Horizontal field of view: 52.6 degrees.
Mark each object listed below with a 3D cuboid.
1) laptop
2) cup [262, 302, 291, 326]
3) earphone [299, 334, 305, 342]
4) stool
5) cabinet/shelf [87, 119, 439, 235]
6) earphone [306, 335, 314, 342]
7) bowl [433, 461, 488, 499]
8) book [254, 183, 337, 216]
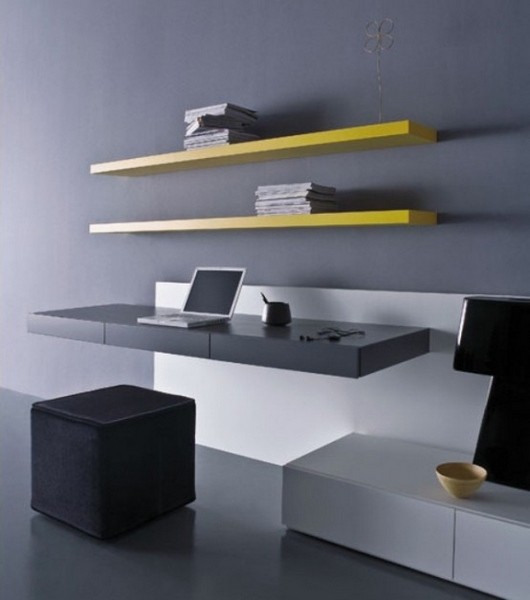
[{"bbox_3d":[-0.309,-0.018,2.233,0.338,0.229,0.407,3,4,36],"label":"laptop"},{"bbox_3d":[0.045,0.057,2.142,0.090,0.078,0.090,0,-2,0],"label":"cup"},{"bbox_3d":[0.117,0.123,1.704,0.011,0.020,0.022,2,-1,-34],"label":"earphone"},{"bbox_3d":[-0.557,0.571,1.993,0.438,0.414,0.472,3,4,35],"label":"stool"},{"bbox_3d":[-0.118,-0.482,2.394,1.640,0.369,0.298,3,6,33],"label":"cabinet/shelf"},{"bbox_3d":[0.142,0.122,1.694,0.021,0.022,0.012,5,4,32],"label":"earphone"},{"bbox_3d":[0.567,0.503,1.553,0.098,0.047,0.098,-1,2,0],"label":"bowl"},{"bbox_3d":[0.108,-0.386,2.119,0.194,0.075,0.195,1,2,42],"label":"book"}]
